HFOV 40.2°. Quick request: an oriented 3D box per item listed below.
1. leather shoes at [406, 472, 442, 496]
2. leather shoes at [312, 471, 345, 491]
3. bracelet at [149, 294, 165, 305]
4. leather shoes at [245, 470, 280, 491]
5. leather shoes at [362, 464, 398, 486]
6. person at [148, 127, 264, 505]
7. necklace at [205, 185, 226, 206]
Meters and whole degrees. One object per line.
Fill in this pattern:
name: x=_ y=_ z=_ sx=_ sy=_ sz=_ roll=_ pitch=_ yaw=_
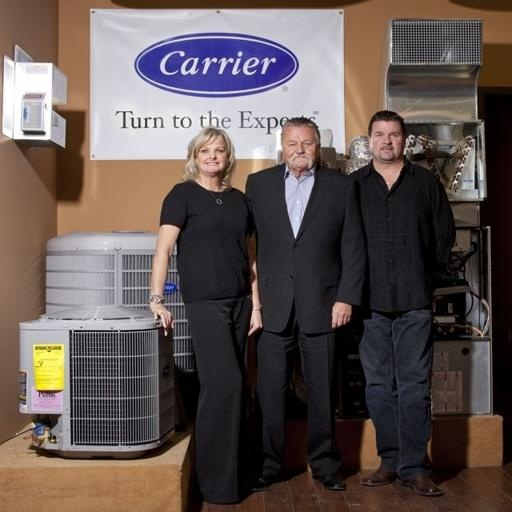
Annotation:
leather shoes: x=0.816 y=1.088 z=3.354 sx=0.074 sy=0.064 sz=0.144 roll=3 pitch=-9 yaw=-32
leather shoes: x=0.359 y=1.101 z=3.428 sx=0.066 sy=0.072 sz=0.155 roll=13 pitch=-16 yaw=-33
bracelet: x=-0.463 y=0.196 z=3.205 sx=0.082 sy=0.041 sz=0.048 roll=-4 pitch=-3 yaw=32
leather shoes: x=0.028 y=1.083 z=3.393 sx=0.172 sy=0.074 sz=0.063 roll=3 pitch=-7 yaw=-28
leather shoes: x=0.610 y=1.083 z=3.462 sx=0.163 sy=0.075 sz=0.078 roll=5 pitch=-11 yaw=-28
person: x=-0.229 y=0.267 z=3.322 sx=0.539 sy=1.757 sz=0.255 roll=-2 pitch=-2 yaw=-15
necklace: x=-0.195 y=-0.285 z=3.310 sx=0.116 sy=0.008 sz=0.146 roll=-12 pitch=44 yaw=-30
